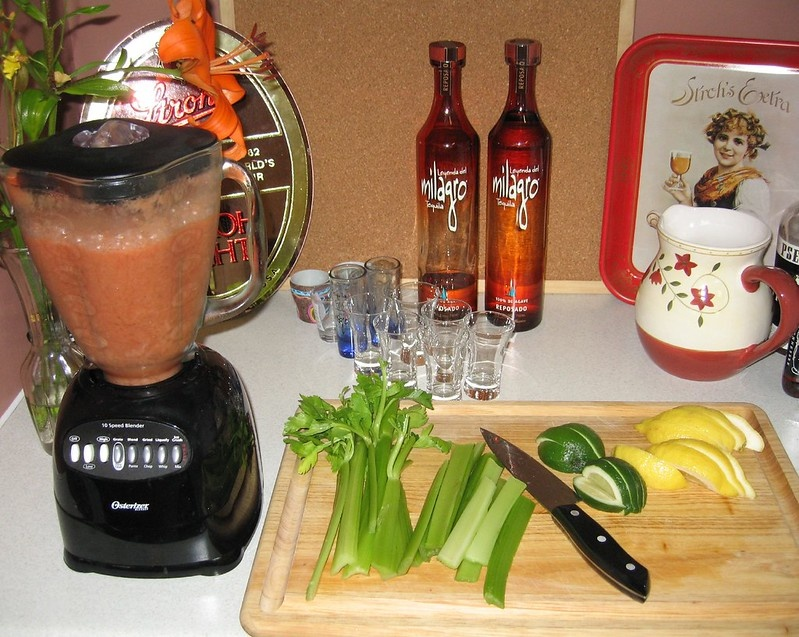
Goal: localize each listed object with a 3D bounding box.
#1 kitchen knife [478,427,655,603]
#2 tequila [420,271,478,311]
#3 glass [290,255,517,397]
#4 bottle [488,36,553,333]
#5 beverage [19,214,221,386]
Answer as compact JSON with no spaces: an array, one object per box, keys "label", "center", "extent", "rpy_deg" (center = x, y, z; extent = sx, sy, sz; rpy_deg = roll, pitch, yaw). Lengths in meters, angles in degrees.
[{"label":"kitchen knife","center":[0.211,0.250,0.959],"extent":[0.066,0.032,0.386],"rpy_deg":[-17,35,-17]},{"label":"tequila","center":[0.099,-0.071,1.308],"extent":[0.084,0.063,0.084],"rpy_deg":[-1,25,1]},{"label":"glass","center":[0.040,0.019,1.205],"extent":[0.270,0.156,0.241],"rpy_deg":[7,29,10]},{"label":"bottle","center":[0.217,-0.228,1.238],"extent":[0.113,0.521,0.126],"rpy_deg":[1,30,7]},{"label":"beverage","center":[-0.342,-0.027,0.865],"extent":[0.194,0.221,0.197],"rpy_deg":[-5,-5,38]}]
